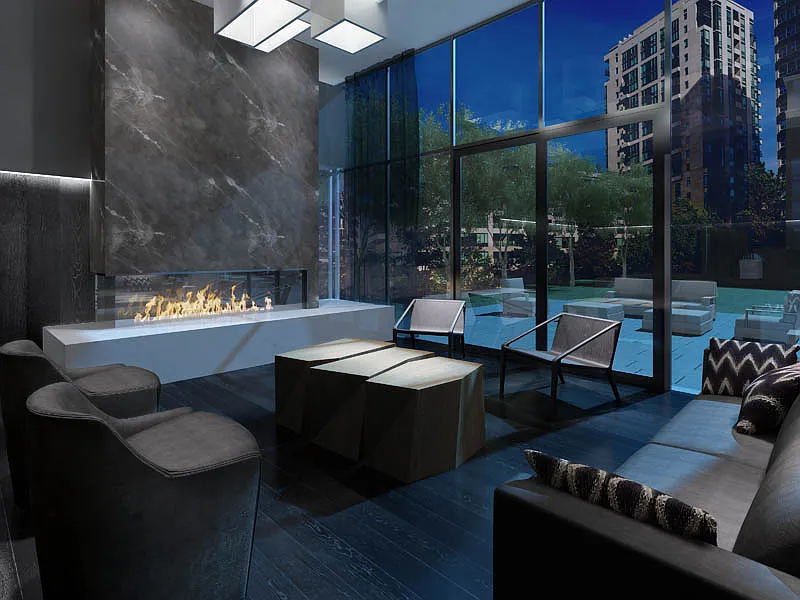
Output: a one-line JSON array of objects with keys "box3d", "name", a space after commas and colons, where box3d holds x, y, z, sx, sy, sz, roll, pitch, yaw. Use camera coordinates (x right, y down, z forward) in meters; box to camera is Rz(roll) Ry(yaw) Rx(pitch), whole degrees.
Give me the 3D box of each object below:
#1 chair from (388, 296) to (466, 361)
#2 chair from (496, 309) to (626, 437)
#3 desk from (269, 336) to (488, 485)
[{"box3d": [0.366, 0.336, 6.718, 0.731, 0.681, 0.506, 2, 4, 29], "name": "chair"}, {"box3d": [1.519, 0.573, 5.327, 0.931, 0.825, 1.008, -1, 7, -9], "name": "chair"}, {"box3d": [-0.169, 0.805, 4.323, 1.515, 0.673, 0.865, 4, 9, 40], "name": "desk"}]
